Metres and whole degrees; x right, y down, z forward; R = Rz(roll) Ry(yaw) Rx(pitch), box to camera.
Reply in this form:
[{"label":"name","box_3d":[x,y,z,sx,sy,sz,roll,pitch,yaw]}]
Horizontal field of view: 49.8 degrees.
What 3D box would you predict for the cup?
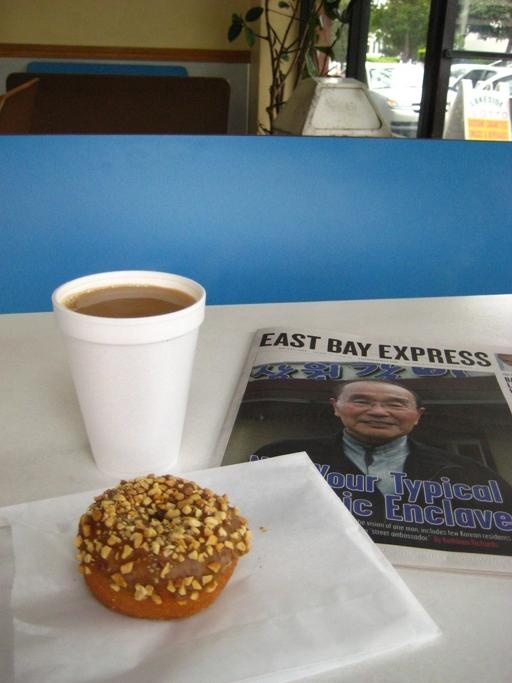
[{"label":"cup","box_3d":[-0.077,0.022,0.448,0.150,0.155,0.142,0,21,0]}]
